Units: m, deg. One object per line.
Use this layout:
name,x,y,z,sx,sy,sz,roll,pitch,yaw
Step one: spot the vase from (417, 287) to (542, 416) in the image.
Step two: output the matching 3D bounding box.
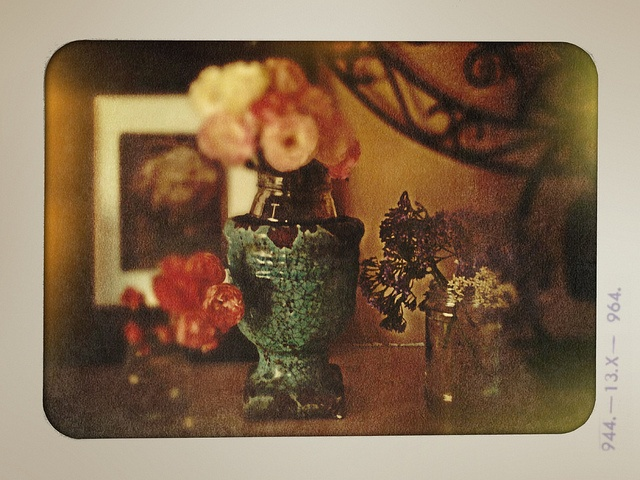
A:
vase,0.614,0.373,3.068,0.440,0.644,0.411,1,-3,-41

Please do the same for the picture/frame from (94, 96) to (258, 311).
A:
picture/frame,-0.508,-0.164,2.808,0.713,0.977,0.063,0,2,-1
